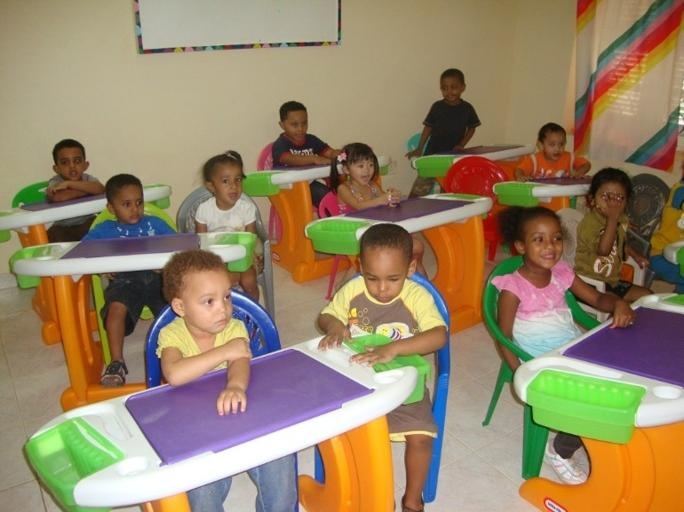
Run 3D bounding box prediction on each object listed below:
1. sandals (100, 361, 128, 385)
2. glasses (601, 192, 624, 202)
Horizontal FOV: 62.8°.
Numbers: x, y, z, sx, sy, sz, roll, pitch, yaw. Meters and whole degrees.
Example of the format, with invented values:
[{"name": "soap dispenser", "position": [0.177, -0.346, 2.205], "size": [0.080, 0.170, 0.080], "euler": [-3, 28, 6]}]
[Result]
[{"name": "sandals", "position": [-1.091, 0.567, 2.693], "size": [0.070, 0.068, 0.148], "euler": [3, 21, -20]}, {"name": "glasses", "position": [1.391, -0.305, 2.884], "size": [0.055, 0.024, 0.066], "euler": [4, 17, 2]}]
